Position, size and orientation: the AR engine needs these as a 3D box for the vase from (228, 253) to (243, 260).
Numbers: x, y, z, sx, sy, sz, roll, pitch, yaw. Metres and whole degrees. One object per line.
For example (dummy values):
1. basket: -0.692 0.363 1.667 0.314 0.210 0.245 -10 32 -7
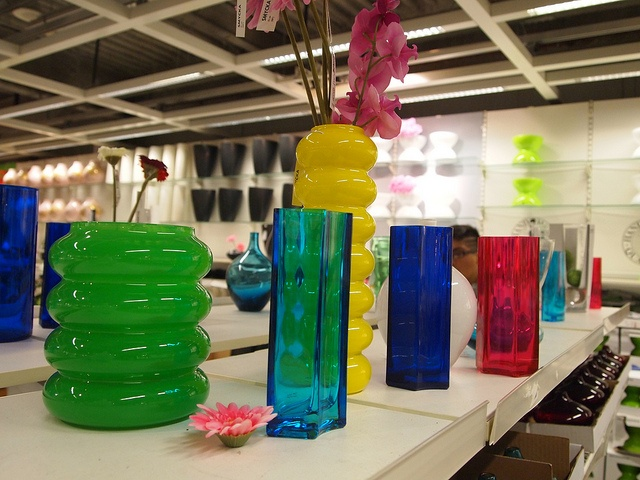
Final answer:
1. vase: -0.494 0.093 2.999 0.070 0.039 0.104 -1 -6 4

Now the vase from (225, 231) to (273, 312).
1. vase: -0.236 0.097 1.738 0.161 0.236 0.165 7 9 11

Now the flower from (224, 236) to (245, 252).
1. flower: -0.758 0.033 4.614 0.136 0.188 0.108 2 9 19

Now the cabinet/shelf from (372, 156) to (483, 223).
1. cabinet/shelf: 0.776 -0.365 3.874 0.813 0.480 0.377 2 1 16

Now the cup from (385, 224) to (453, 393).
1. cup: 0.156 0.106 0.820 0.097 0.255 0.047 2 2 8

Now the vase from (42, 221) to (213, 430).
1. vase: -0.194 0.101 0.734 0.241 0.265 0.237 1 1 3
